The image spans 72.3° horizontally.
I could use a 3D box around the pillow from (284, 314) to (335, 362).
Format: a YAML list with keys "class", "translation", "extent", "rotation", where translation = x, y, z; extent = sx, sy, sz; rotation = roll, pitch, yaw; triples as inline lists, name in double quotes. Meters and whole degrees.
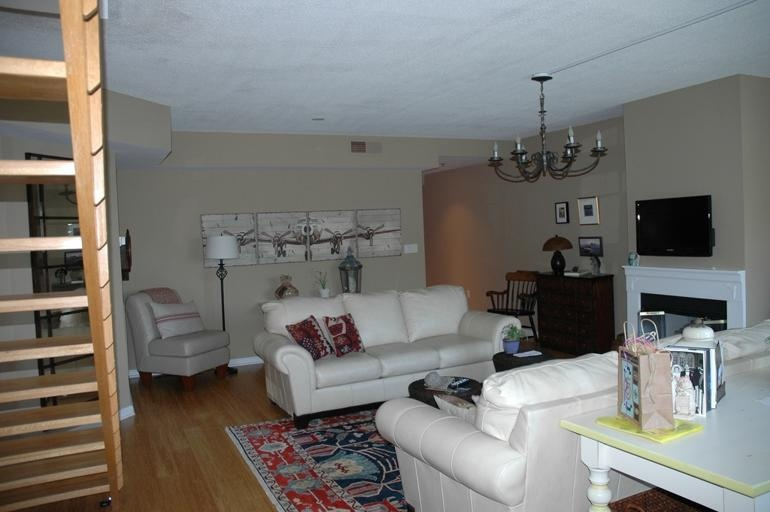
- class: "pillow"
  translation: [-0.770, 0.839, 5.332]
  extent: [0.424, 0.386, 0.125]
  rotation: [-5, -35, -51]

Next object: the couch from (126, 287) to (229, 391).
- class: "couch"
  translation: [-2.579, 0.968, 6.480]
  extent: [1.271, 1.298, 0.995]
  rotation: [-1, 1, 30]

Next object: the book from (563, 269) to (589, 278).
- class: "book"
  translation: [2.644, 0.253, 7.228]
  extent: [0.324, 0.064, 0.372]
  rotation: [0, 8, 19]

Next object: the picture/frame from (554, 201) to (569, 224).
- class: "picture/frame"
  translation: [2.628, -0.644, 7.795]
  extent: [0.057, 0.401, 0.353]
  rotation: [3, 2, -19]

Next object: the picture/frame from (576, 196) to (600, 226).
- class: "picture/frame"
  translation: [2.866, -0.633, 7.384]
  extent: [0.036, 0.486, 0.465]
  rotation: [4, -2, -30]

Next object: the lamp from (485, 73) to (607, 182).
- class: "lamp"
  translation: [1.580, -1.219, 5.216]
  extent: [1.149, 0.890, 1.033]
  rotation: [-2, 3, 24]

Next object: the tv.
- class: "tv"
  translation: [3.239, -0.337, 5.832]
  extent: [0.250, 0.550, 0.729]
  rotation: [-7, 5, -39]
